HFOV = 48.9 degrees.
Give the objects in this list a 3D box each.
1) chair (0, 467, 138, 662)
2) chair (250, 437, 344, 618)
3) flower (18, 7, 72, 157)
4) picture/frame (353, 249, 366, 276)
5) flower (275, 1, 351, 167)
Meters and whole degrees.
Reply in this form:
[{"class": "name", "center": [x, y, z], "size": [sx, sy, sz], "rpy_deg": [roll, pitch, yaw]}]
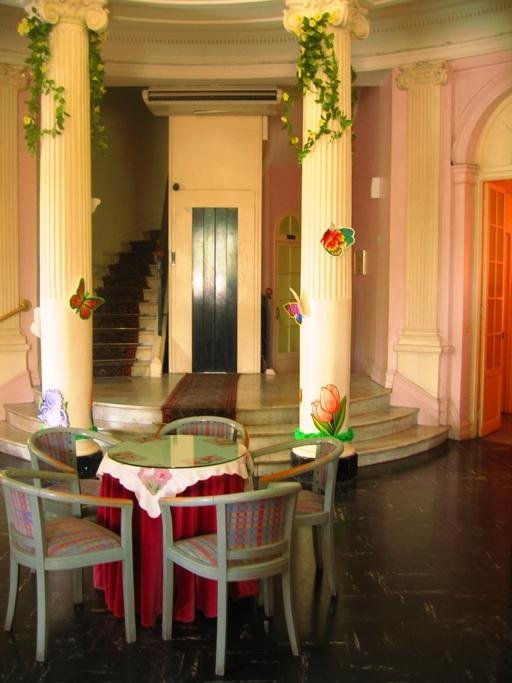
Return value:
[{"class": "chair", "center": [-0.703, 0.808, 2.125], "size": [0.493, 0.669, 0.459], "rpy_deg": [1, 1, -16]}, {"class": "chair", "center": [0.185, 0.852, 2.815], "size": [0.469, 0.687, 0.564], "rpy_deg": [0, 0, -20]}, {"class": "flower", "center": [-1.756, -1.992, 4.596], "size": [0.342, 1.209, 1.254], "rpy_deg": [1, 1, -23]}, {"class": "picture/frame", "center": [1.387, -1.043, 7.521], "size": [0.258, 0.241, 0.102], "rpy_deg": [1, 1, 43]}, {"class": "flower", "center": [0.419, -1.857, 4.129], "size": [0.426, 1.014, 0.250], "rpy_deg": [0, 8, 13]}]
